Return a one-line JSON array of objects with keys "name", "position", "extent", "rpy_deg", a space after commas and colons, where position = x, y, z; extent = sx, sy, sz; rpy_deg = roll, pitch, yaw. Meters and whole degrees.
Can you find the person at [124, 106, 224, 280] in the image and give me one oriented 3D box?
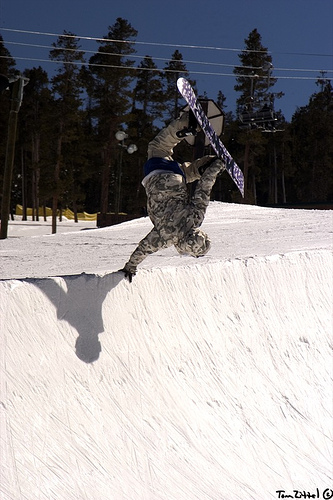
[{"name": "person", "position": [0.064, -0.422, 5.137], "extent": [0.722, 1.345, 0.912], "rpy_deg": [2, 2, -3]}]
